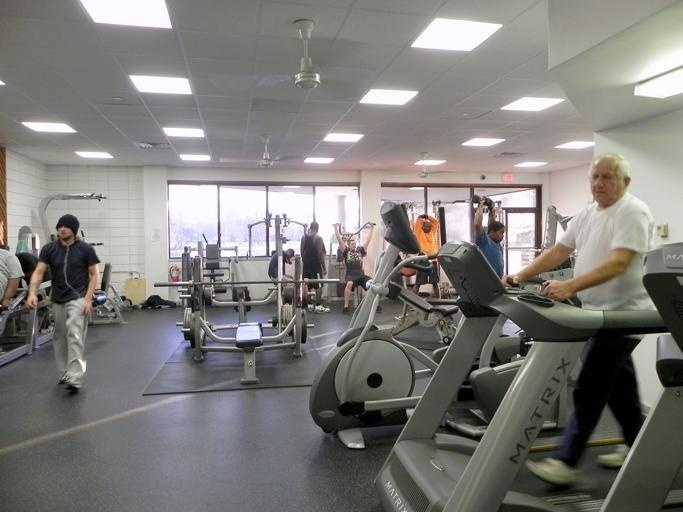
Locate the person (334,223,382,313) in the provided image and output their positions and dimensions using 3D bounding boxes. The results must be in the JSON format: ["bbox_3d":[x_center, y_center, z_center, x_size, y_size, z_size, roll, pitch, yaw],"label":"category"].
[{"bbox_3d":[0.325,0.159,9.416,0.657,1.998,0.721,3,5,-26],"label":"person"}]

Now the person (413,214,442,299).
[{"bbox_3d":[1.709,0.059,9.635,0.566,1.846,0.515,-5,16,-3],"label":"person"}]

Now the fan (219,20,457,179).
[{"bbox_3d":[-0.214,-1.981,7.059,2.949,0.977,5.014,-2,6,-7],"label":"fan"}]

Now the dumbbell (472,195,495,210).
[{"bbox_3d":[1.681,-0.646,5.772,0.204,0.098,0.293,8,7,-2],"label":"dumbbell"}]

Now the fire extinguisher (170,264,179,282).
[{"bbox_3d":[-3.832,0.382,11.106,0.257,0.351,0.114,-2,-3,-8],"label":"fire extinguisher"}]

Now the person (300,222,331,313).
[{"bbox_3d":[-0.497,0.293,9.248,0.473,1.853,0.534,2,5,-19],"label":"person"}]

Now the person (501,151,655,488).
[{"bbox_3d":[1.598,0.390,3.219,1.075,2.126,0.761,-1,2,-32],"label":"person"}]

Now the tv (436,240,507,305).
[{"bbox_3d":[0.641,0.078,2.503,0.259,0.364,0.281,1,5,-24],"label":"tv"}]
